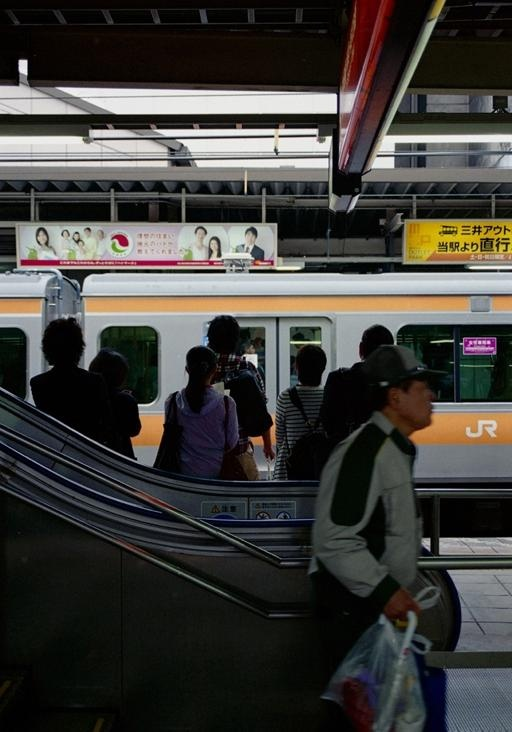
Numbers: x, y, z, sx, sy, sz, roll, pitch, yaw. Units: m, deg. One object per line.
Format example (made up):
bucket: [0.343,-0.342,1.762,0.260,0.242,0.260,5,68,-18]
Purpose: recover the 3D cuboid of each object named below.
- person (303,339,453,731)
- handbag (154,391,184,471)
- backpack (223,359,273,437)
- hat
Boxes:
person: [0.426,0.759,2.629,0.447,1.199,0.809,3,2,4]
handbag: [-0.528,0.422,4.316,0.157,0.525,0.287,3,2,-8]
backpack: [-0.058,0.186,4.325,0.183,0.424,0.325,-10,4,-23]
hat: [0.540,0.016,2.538,0.243,0.124,0.156,-7,12,7]
